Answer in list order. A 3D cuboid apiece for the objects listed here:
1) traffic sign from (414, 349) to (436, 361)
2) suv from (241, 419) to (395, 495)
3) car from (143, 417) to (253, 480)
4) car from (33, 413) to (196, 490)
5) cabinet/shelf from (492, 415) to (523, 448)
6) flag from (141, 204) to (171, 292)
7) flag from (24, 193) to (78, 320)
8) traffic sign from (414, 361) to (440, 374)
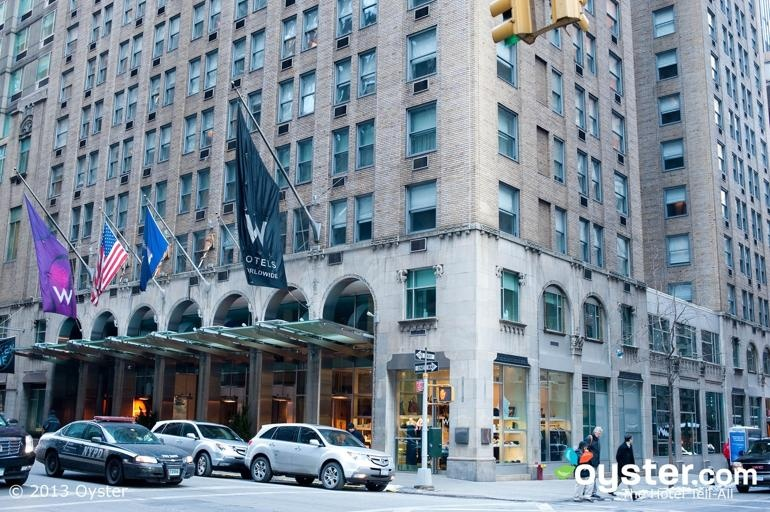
[{"bbox_3d":[1.769,4.526,34.747,1.130,0.628,0.055,15,-26,-31],"label":"traffic sign"},{"bbox_3d":[-2.944,8.447,32.330,5.676,2.129,2.768,-9,-22,28],"label":"suv"},{"bbox_3d":[-8.089,8.620,34.037,6.152,2.230,2.584,-6,-11,37],"label":"car"},{"bbox_3d":[-10.268,7.681,29.358,7.520,2.262,2.937,-6,-11,38],"label":"car"},{"bbox_3d":[6.189,9.044,39.227,1.844,1.648,0.592,10,-18,-35],"label":"cabinet/shelf"},{"bbox_3d":[-13.707,-0.345,44.941,1.938,5.928,1.863,3,0,6],"label":"flag"},{"bbox_3d":[-20.630,0.828,47.118,2.297,8.902,3.013,6,-2,-10],"label":"flag"},{"bbox_3d":[1.865,5.032,34.677,1.377,0.742,0.058,-4,-15,20],"label":"traffic sign"}]
